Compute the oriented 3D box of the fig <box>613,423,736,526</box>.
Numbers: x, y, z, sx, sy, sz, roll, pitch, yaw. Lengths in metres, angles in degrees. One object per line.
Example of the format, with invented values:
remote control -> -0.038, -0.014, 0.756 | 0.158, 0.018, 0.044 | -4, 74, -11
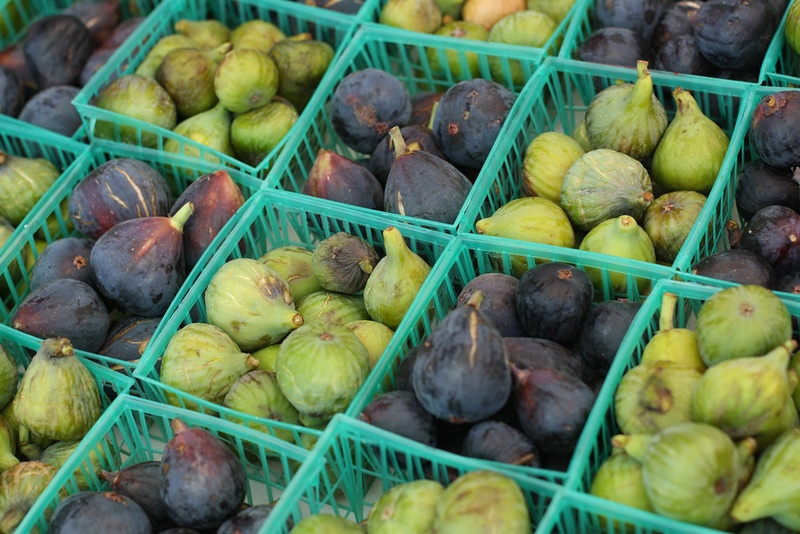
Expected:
fig -> 0.947, 0.708, 2.580 | 0.417, 0.224, 0.281 | -8, 52, 3
